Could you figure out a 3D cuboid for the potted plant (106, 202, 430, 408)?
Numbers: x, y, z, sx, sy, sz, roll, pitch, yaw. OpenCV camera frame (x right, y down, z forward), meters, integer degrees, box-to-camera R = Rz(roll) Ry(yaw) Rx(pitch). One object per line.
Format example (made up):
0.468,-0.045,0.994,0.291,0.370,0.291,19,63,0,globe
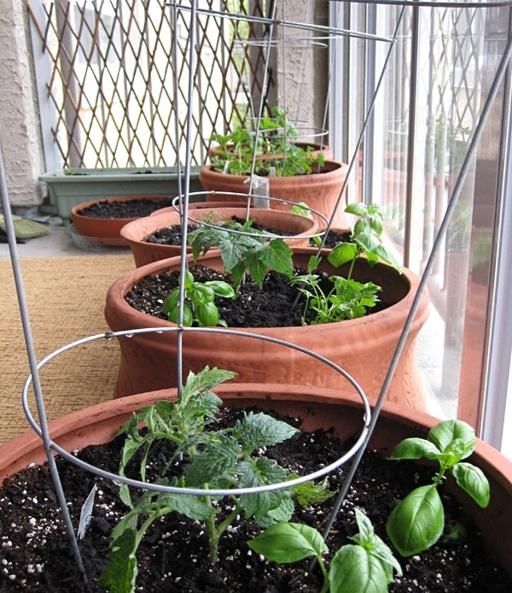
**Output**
-0.017,-0.031,0.820,0.438,0.153,0.401,10,17,32,potted plant
